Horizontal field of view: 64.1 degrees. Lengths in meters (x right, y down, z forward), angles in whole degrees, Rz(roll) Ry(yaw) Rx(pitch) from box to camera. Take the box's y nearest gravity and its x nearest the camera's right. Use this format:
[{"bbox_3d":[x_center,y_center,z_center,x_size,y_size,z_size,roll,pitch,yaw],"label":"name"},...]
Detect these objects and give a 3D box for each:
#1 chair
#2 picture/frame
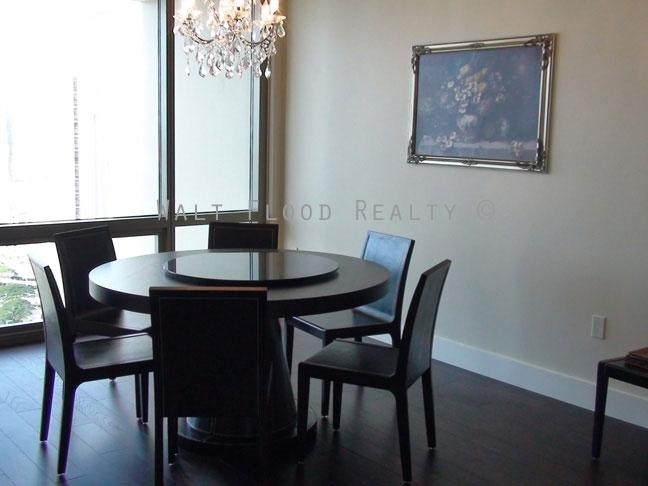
[{"bbox_3d":[-0.087,0.426,2.492,1.291,0.731,1.381,-2,11,-9],"label":"chair"},{"bbox_3d":[1.144,-1.006,3.647,0.971,0.885,0.079,7,10,40],"label":"picture/frame"}]
